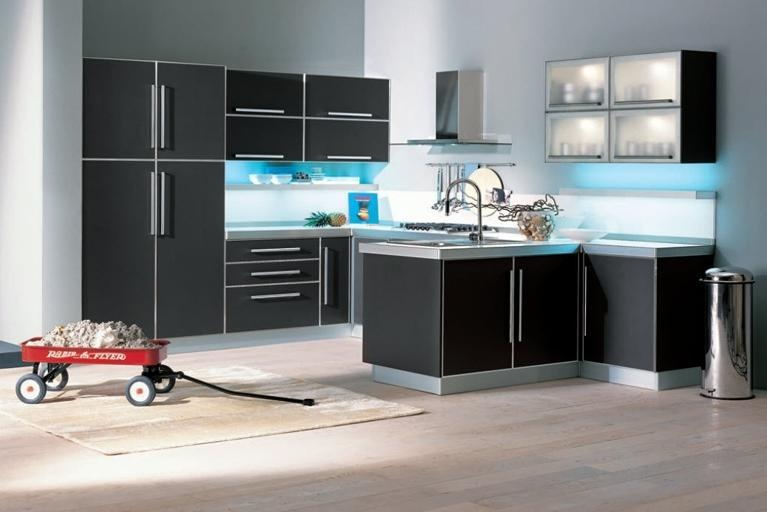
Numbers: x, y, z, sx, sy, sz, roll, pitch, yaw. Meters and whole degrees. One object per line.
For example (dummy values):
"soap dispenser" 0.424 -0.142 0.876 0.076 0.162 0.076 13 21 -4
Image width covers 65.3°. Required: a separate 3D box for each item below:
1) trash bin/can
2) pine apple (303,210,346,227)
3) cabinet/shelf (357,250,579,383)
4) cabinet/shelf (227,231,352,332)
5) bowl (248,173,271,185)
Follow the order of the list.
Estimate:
"trash bin/can" 2.926 0.648 5.089 0.391 1.094 0.308 0 8 28
"pine apple" -0.766 -0.491 7.814 0.513 0.205 0.250 0 16 1
"cabinet/shelf" 0.688 0.654 5.618 2.080 1.113 1.106 -1 3 -34
"cabinet/shelf" -1.261 0.291 7.448 2.026 1.213 1.034 0 -1 -27
"bowl" -1.561 -0.984 7.634 0.283 0.133 0.140 -4 6 -9
